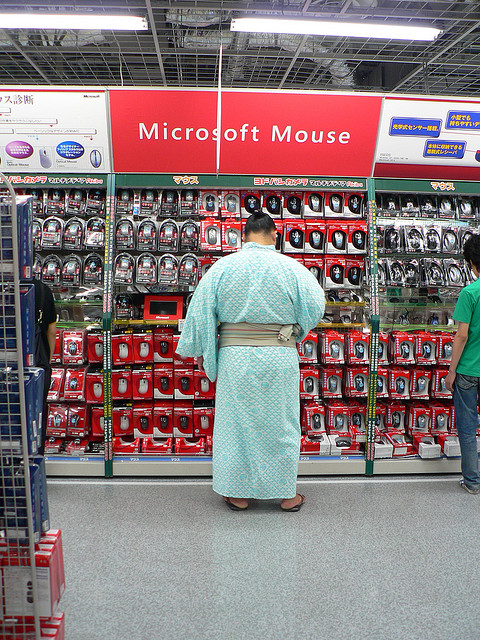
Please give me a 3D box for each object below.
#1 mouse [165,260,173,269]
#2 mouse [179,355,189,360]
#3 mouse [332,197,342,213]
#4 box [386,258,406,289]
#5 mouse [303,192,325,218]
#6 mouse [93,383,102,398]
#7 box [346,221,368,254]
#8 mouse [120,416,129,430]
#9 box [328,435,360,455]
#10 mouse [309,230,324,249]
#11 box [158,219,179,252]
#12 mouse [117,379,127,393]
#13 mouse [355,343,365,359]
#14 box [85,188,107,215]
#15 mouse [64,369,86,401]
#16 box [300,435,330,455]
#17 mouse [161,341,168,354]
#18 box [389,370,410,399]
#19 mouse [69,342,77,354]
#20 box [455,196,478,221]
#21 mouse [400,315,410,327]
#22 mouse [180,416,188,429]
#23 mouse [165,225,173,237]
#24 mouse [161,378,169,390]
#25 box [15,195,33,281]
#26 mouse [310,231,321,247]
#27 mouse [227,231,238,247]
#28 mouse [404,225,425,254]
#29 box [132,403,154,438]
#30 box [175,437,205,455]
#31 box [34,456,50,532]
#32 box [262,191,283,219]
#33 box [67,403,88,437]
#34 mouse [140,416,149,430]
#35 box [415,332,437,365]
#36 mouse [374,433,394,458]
[{"bbox_3d":[-0.508,-0.395,3.468,0.042,0.058,0.013,1,-10,0],"label":"mouse"},{"bbox_3d":[-0.343,0.245,2.998,0.056,0.042,0.056,7,-9,-29],"label":"mouse"},{"bbox_3d":[0.706,-0.847,3.552,0.071,0.102,0.036,4,-3,-9],"label":"mouse"},{"bbox_3d":[1.171,-0.353,3.673,0.166,0.212,0.074,-2,-12,-10],"label":"box"},{"bbox_3d":[0.530,-0.840,3.527,0.181,0.257,0.083,1,0,-13],"label":"mouse"},{"bbox_3d":[-1.004,0.504,3.422,0.052,0.089,0.026,1,7,-17],"label":"mouse"},{"bbox_3d":[0.840,-0.602,3.498,0.148,0.230,0.065,-1,7,9],"label":"box"},{"bbox_3d":[-0.825,0.739,3.452,0.059,0.094,0.022,2,-1,-11],"label":"mouse"},{"bbox_3d":[0.746,0.908,3.500,0.240,0.128,0.148,-3,8,-6],"label":"box"},{"bbox_3d":[0.556,-0.584,3.509,0.091,0.128,0.038,2,4,-9],"label":"mouse"},{"bbox_3d":[-0.507,-0.606,3.464,0.125,0.218,0.065,1,-5,-1],"label":"box"},{"bbox_3d":[-0.833,0.467,3.408,0.060,0.104,0.025,1,-2,-14],"label":"mouse"},{"bbox_3d":[0.856,0.224,3.464,0.073,0.100,0.028,4,1,-9],"label":"mouse"},{"bbox_3d":[-1.036,-0.861,3.476,0.138,0.210,0.069,6,-23,-6],"label":"box"},{"bbox_3d":[-1.155,0.458,3.397,0.151,0.201,0.075,-1,7,6],"label":"mouse"},{"bbox_3d":[0.526,0.895,3.415,0.260,0.093,0.261,1,6,1],"label":"box"},{"bbox_3d":[-0.538,0.201,3.449,0.046,0.091,0.010,-2,7,0],"label":"mouse"},{"bbox_3d":[1.181,0.481,3.599,0.204,0.280,0.098,0,2,-5],"label":"box"},{"bbox_3d":[-1.157,0.195,3.351,0.052,0.072,0.017,4,-5,-5],"label":"mouse"},{"bbox_3d":[1.725,-0.861,3.706,0.168,0.189,0.111,-1,7,4],"label":"box"},{"bbox_3d":[1.299,0.013,3.840,0.073,0.134,0.094,-3,-4,10],"label":"mouse"},{"bbox_3d":[-0.403,0.747,3.493,0.048,0.088,0.021,2,-1,-3],"label":"mouse"},{"bbox_3d":[-0.512,-0.636,3.471,0.061,0.111,0.064,1,-7,2],"label":"mouse"},{"bbox_3d":[-0.537,0.462,3.451,0.054,0.073,0.022,4,2,-2],"label":"mouse"},{"bbox_3d":[-0.641,-0.246,1.447,0.044,0.255,0.115,-4,8,-19],"label":"box"},{"bbox_3d":[0.546,-0.588,3.507,0.074,0.105,0.037,2,5,-9],"label":"mouse"},{"bbox_3d":[-0.059,-0.570,3.435,0.070,0.114,0.027,1,-3,1],"label":"mouse"},{"bbox_3d":[1.318,-0.616,3.672,0.148,0.208,0.120,-1,7,8],"label":"mouse"},{"bbox_3d":[-0.695,0.732,3.472,0.143,0.231,0.083,-3,7,-10],"label":"box"},{"bbox_3d":[-0.355,0.894,3.381,0.137,0.086,0.102,1,1,-1],"label":"box"},{"bbox_3d":[-0.636,0.548,1.510,0.041,0.214,0.059,-14,-16,-3],"label":"box"},{"bbox_3d":[0.236,-0.840,3.506,0.142,0.197,0.065,-1,7,9],"label":"box"},{"bbox_3d":[-1.157,0.719,3.453,0.126,0.220,0.091,-2,7,-1],"label":"box"},{"bbox_3d":[-0.695,0.747,3.474,0.051,0.093,0.022,1,0,-8],"label":"mouse"},{"bbox_3d":[1.375,0.216,3.592,0.164,0.219,0.079,-1,7,7],"label":"box"},{"bbox_3d":[1.029,0.929,3.503,0.119,0.112,0.119,-1,4,-8],"label":"mouse"}]
